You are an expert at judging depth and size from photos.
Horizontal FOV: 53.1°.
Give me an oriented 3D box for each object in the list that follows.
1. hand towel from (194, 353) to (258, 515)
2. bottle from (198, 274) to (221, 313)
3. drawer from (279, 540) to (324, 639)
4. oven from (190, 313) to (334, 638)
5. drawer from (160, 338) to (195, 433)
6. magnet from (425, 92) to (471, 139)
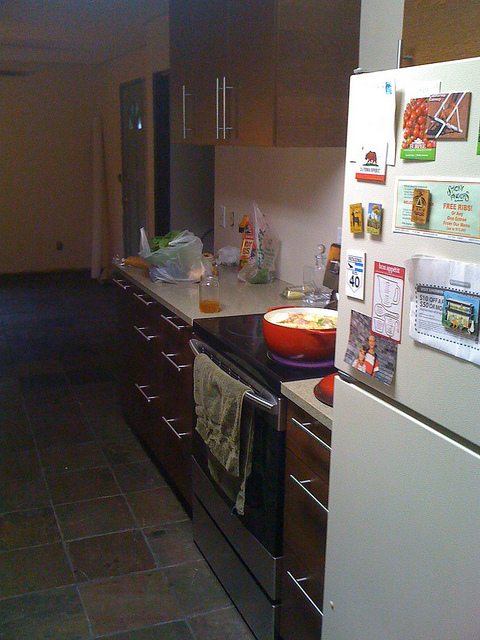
[{"bbox_3d":[-0.065,0.368,1.565,0.071,0.430,0.418,-5,13,-25],"label":"hand towel"},{"bbox_3d":[-0.128,-0.107,1.984,0.104,0.252,0.123,0,2,-2],"label":"bottle"},{"bbox_3d":[0.160,0.754,1.279,0.087,0.268,0.111,-4,14,-22],"label":"drawer"},{"bbox_3d":[0.022,0.537,1.650,0.274,0.996,0.672,-5,13,-26],"label":"oven"},{"bbox_3d":[-0.273,0.280,2.108,0.137,0.453,0.167,-7,17,-25],"label":"drawer"},{"bbox_3d":[0.248,-0.240,0.573,0.025,0.058,0.055,-9,20,-21],"label":"magnet"}]
